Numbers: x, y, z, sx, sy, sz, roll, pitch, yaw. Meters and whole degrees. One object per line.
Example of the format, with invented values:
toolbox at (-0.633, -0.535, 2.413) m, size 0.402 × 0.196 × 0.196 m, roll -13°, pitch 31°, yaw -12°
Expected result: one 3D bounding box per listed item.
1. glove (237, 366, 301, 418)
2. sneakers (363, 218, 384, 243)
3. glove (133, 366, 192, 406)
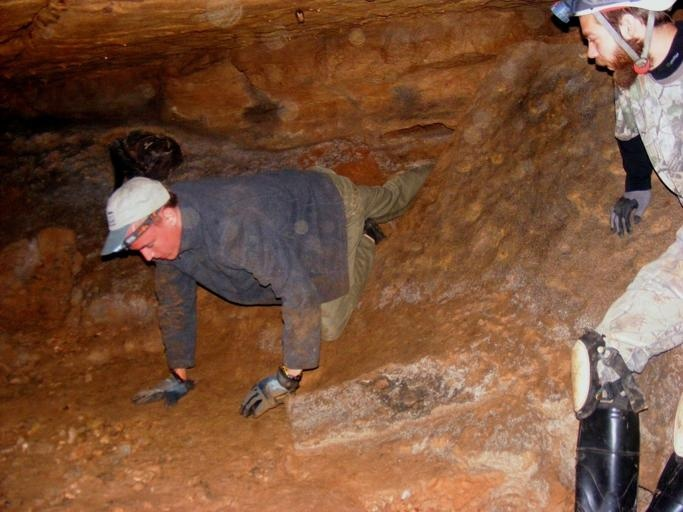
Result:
glove at (-0.541, 1.020, 5.113) m, size 0.508 × 0.216 × 0.293 m, roll -35°, pitch 83°, yaw -12°
sneakers at (0.280, -0.229, 5.826) m, size 0.073 × 0.201 × 0.153 m, roll -33°, pitch 27°, yaw 17°
glove at (-1.398, 1.019, 5.317) m, size 0.303 × 0.100 × 0.279 m, roll -3°, pitch 18°, yaw -32°
